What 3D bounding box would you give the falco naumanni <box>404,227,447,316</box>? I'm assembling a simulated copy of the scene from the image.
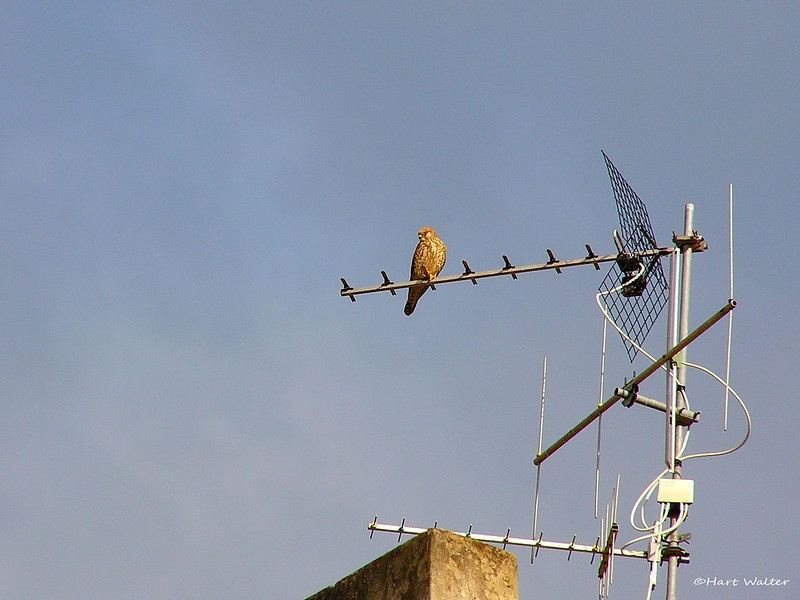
[{"bbox_3d":[0.251,-0.345,18.312,0.248,0.343,0.814,18,-68,-12],"label":"falco naumanni"}]
